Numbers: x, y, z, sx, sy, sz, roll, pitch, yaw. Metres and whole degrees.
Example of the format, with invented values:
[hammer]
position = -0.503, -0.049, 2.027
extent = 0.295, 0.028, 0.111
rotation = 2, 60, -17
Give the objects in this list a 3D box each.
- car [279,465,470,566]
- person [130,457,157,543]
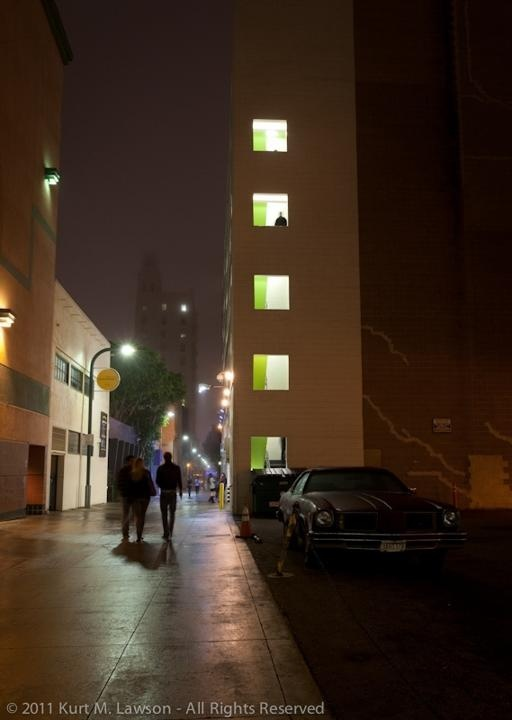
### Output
[car]
position = 1.667, 2.328, 9.426
extent = 2.058, 1.378, 2.793
rotation = 0, -10, -5
[person]
position = -2.456, 3.003, 13.350
extent = 0.488, 1.695, 2.320
rotation = 1, -9, -10
